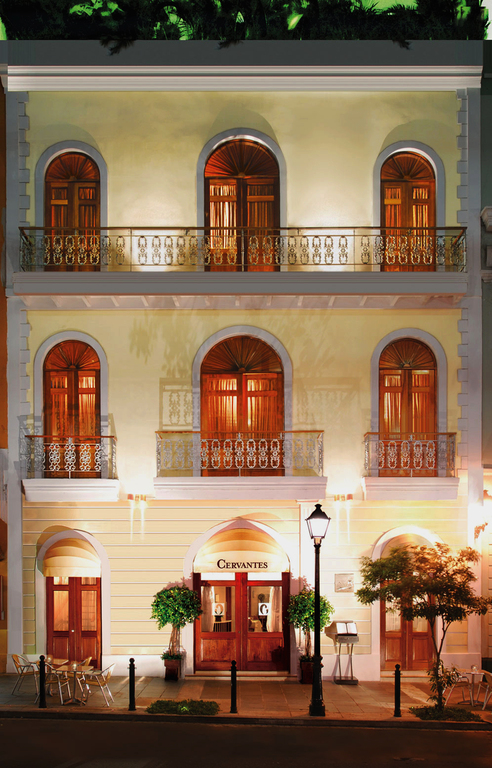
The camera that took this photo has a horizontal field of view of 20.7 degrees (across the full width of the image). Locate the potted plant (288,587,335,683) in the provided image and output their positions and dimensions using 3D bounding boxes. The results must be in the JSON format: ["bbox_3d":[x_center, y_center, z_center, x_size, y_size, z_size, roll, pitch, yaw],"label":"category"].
[{"bbox_3d":[1.215,4.855,26.090,0.792,1.836,0.705,2,-14,-8],"label":"potted plant"}]

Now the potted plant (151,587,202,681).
[{"bbox_3d":[-1.340,4.834,26.186,0.925,1.860,0.894,0,-4,-5],"label":"potted plant"}]

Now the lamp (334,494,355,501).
[{"bbox_3d":[1.937,2.271,26.814,0.245,0.190,0.143,1,-6,-6],"label":"lamp"}]

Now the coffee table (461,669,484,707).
[{"bbox_3d":[4.315,5.772,25.560,0.560,0.656,0.605,0,-8,-6],"label":"coffee table"}]

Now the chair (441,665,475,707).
[{"bbox_3d":[3.913,5.592,25.010,0.677,1.119,0.691,0,-6,-1],"label":"chair"}]
